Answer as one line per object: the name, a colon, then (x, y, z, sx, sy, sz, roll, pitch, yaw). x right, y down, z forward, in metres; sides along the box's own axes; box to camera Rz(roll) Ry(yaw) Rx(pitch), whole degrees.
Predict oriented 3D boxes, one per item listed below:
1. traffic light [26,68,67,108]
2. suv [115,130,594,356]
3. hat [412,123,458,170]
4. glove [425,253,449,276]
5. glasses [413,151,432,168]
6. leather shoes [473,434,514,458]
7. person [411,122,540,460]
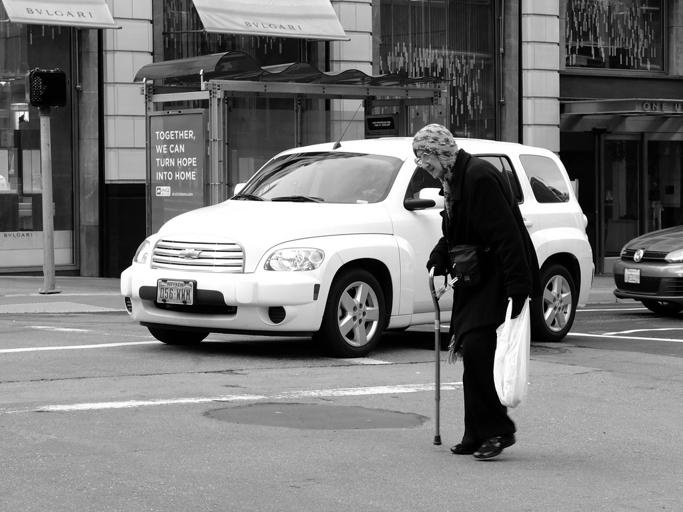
traffic light: (-4.441, -2.520, 18.115, 0.552, 0.587, 0.280, 0, 5, -17)
suv: (0.272, -0.063, 13.288, 4.130, 1.831, 2.628, 7, -8, -43)
hat: (0.692, -0.802, 8.791, 0.323, 0.315, 0.197, 2, 5, 4)
glove: (0.736, 0.063, 9.120, 0.119, 0.175, 0.158, -2, 4, 29)
glasses: (0.576, -0.724, 8.784, 0.040, 0.131, 0.127, -43, -15, 15)
leather shoes: (1.119, 1.390, 8.784, 0.296, 0.182, 0.154, -1, 5, -24)
person: (0.997, 0.262, 8.815, 0.854, 2.407, 0.328, 3, 5, 20)
